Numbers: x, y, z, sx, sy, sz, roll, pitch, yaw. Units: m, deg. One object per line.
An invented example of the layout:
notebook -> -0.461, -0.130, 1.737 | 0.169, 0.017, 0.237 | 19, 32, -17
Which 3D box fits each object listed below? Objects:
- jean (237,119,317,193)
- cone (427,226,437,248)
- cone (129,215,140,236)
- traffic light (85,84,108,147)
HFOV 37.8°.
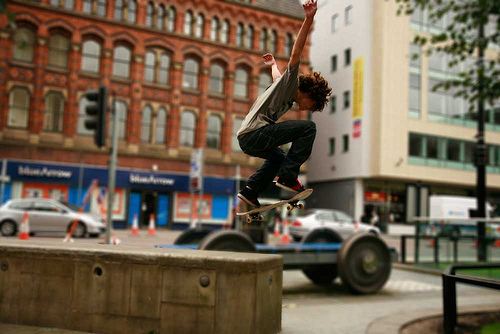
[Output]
jean -> 0.411, -0.170, 13.014 | 1.315, 1.242, 0.592 | -2, 0, 5
cone -> 3.368, 1.371, 14.311 | 0.184, 0.386, 0.068 | -2, 0, -31
cone -> -2.376, 1.244, 15.067 | 0.278, 0.383, 0.279 | 1, -4, -11
traffic light -> -3.173, -1.053, 14.997 | 0.482, 1.229, 0.491 | 1, 5, -13
